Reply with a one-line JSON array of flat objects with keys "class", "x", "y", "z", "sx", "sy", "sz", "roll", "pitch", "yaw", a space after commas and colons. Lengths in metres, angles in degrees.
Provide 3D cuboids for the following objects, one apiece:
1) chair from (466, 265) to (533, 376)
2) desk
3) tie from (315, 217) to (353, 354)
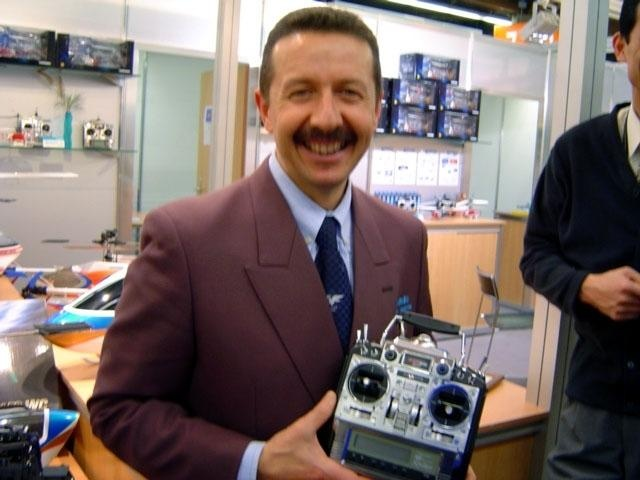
[{"class": "chair", "x": 1.103, "y": 0.527, "z": 3.091, "sx": 0.346, "sy": 0.567, "sz": 0.356, "roll": 1, "pitch": 20, "yaw": -43}, {"class": "desk", "x": 1.147, "y": 0.298, "z": 4.924, "sx": 0.658, "sy": 1.109, "sz": 0.636, "roll": 11, "pitch": 3, "yaw": 41}, {"class": "tie", "x": 0.032, "y": 0.028, "z": 1.246, "sx": 0.080, "sy": 0.085, "sz": 0.338, "roll": 18, "pitch": 22, "yaw": -10}]
